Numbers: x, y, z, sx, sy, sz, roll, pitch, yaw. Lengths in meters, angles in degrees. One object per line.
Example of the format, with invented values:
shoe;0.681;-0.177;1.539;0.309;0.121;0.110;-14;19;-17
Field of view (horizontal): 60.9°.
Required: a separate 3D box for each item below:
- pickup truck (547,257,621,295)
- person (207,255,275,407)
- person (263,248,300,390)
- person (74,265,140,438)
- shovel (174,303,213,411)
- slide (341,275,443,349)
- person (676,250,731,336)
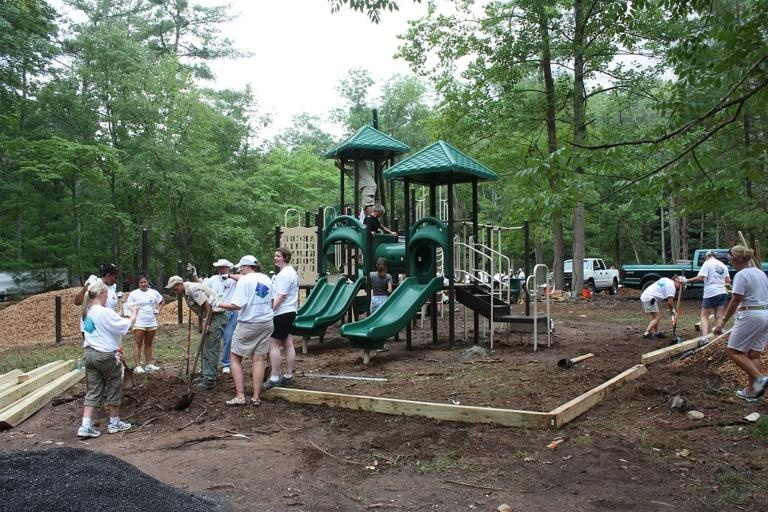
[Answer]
pickup truck;10.391;1.004;34.263;2.710;1.679;4.506;-4;-6;42
person;-2.492;1.336;12.008;0.899;2.716;0.649;1;-1;-13
person;-1.847;1.157;12.398;0.687;2.329;0.783;0;-2;13
person;-4.624;1.687;10.798;0.780;2.578;0.453;1;-1;-23
shovel;-3.653;1.883;12.290;0.684;2.003;0.771;-1;-4;37
slide;0.158;1.311;15.448;0.766;1.680;2.447;-1;-2;44
person;7.484;0.750;15.413;1.476;2.193;1.073;-3;-3;29
